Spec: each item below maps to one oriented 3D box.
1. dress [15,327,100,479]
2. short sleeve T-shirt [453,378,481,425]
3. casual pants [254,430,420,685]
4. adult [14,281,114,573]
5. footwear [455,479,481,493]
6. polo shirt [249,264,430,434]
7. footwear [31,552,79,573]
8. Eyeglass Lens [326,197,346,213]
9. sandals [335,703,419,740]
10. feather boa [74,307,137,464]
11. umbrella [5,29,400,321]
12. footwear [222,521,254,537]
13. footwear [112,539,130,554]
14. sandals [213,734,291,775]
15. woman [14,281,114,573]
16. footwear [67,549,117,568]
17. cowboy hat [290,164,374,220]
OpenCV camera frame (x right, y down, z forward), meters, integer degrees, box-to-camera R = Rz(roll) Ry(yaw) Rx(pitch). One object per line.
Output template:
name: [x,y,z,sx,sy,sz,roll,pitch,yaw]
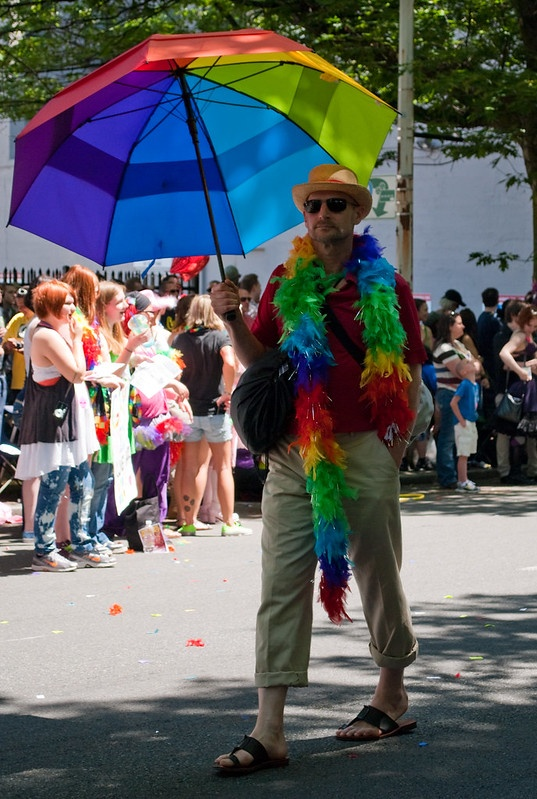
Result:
dress: [-1.543,-0.010,6.570,0.530,0.918,0.590,5,8,28]
short sleeve T-shirt: [2.363,0.011,10.705,0.359,0.517,0.183,0,-1,-36]
casual pants: [0.225,0.500,2.901,0.522,0.791,0.360,-1,-1,1]
adult: [-1.426,0.196,6.496,0.635,2.039,0.520,0,-1,-27]
footwear: [2.381,1.025,10.803,0.274,0.101,0.107,2,-2,34]
polo shirt: [0.250,-0.248,3.157,0.658,0.563,0.339,7,12,11]
footwear: [-1.515,1.159,6.483,0.330,0.134,0.130,1,-1,1]
Eyeglass Lens: [0.226,-0.630,2.934,0.055,0.020,0.051,0,3,-5]
sandals: [0.368,1.078,3.066,0.272,0.074,0.100,4,-14,-32]
feather boa: [-1.268,-0.064,7.190,0.476,1.182,0.460,0,6,1]
umbrella: [-0.289,-0.981,3.292,1.318,0.760,1.182,-13,-28,-13]
footwear: [-0.251,1.154,8.113,0.293,0.113,0.105,0,6,-21]
footwear: [-1.182,1.193,7.371,0.127,0.030,0.121,-3,7,-24]
sandals: [-0.053,1.070,2.737,0.229,0.088,0.092,3,-8,-24]
woman: [-1.428,0.196,6.495,0.639,2.039,0.523,0,-1,-26]
footwear: [-1.275,1.154,6.640,0.346,0.133,0.124,0,5,-3]
cowboy hat: [0.220,-0.711,3.076,0.256,0.095,0.267,-5,-38,11]
